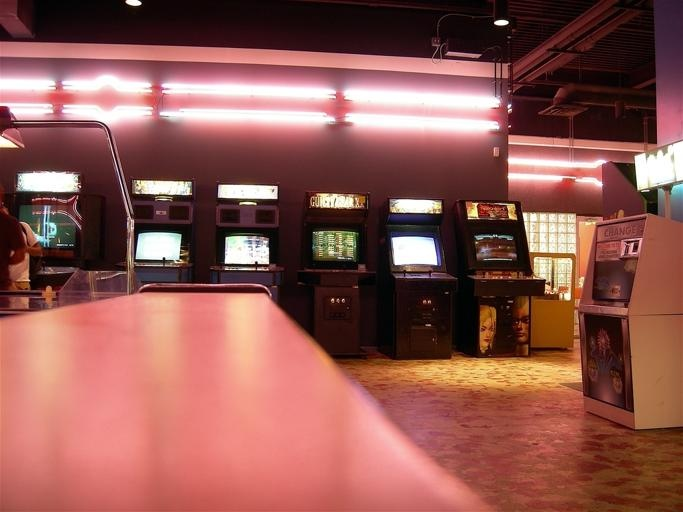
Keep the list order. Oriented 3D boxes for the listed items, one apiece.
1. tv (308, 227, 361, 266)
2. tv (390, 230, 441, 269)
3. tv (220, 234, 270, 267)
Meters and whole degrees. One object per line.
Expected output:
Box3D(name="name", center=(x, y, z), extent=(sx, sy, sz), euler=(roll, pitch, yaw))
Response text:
Box3D(name="tv", center=(-0.078, -0.121, 6.784), extent=(0.675, 0.478, 0.352), euler=(1, 10, 2))
Box3D(name="tv", center=(0.803, -0.043, 6.917), extent=(0.648, 0.441, 0.331), euler=(0, -7, -12))
Box3D(name="tv", center=(-1.029, -0.080, 6.389), extent=(0.563, 0.376, 0.300), euler=(0, -10, -5))
